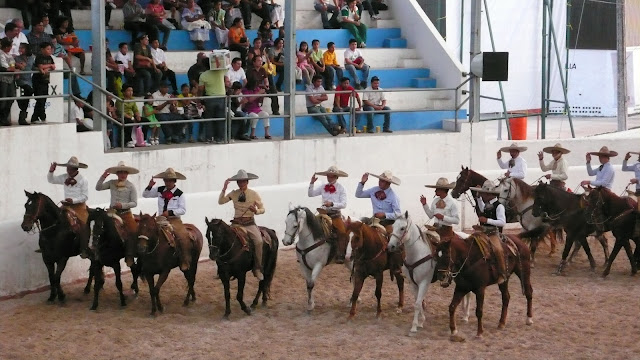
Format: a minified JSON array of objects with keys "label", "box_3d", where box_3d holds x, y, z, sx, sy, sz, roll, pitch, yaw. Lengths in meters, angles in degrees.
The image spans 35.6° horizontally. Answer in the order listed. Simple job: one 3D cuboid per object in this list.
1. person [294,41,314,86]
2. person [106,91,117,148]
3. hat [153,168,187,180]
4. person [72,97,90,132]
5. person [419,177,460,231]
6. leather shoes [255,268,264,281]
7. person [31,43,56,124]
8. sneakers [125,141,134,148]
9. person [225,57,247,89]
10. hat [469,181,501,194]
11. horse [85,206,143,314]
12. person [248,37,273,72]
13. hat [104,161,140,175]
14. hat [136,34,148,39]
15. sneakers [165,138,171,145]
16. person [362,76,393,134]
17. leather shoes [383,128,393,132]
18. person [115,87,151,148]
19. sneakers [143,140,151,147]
[{"label":"person","box_3d":[-0.564,-4.501,38.527,0.729,1.718,0.703,0,4,-2]},{"label":"person","box_3d":[-7.295,-2.054,34.961,0.411,1.824,0.969,0,4,-9]},{"label":"hat","box_3d":[-4.740,-0.154,31.297,0.656,0.214,0.587,4,3,-7]},{"label":"person","box_3d":[-8.299,-2.248,34.585,0.669,1.070,1.469,-1,4,-14]},{"label":"person","box_3d":[3.898,0.761,32.504,1.059,1.797,1.128,27,-37,-34]},{"label":"leather shoes","box_3d":[-1.936,2.976,31.155,0.270,0.368,0.138,-35,11,-18]},{"label":"person","box_3d":[-9.271,-3.253,33.242,0.774,2.697,0.860,-1,4,-24]},{"label":"sneakers","box_3d":[-6.683,-1.261,34.947,0.286,0.195,0.159,0,4,-7]},{"label":"person","box_3d":[-3.138,-3.873,36.865,0.895,1.288,0.838,-3,16,-31]},{"label":"hat","box_3d":[5.247,0.279,30.915,0.695,0.256,0.601,7,0,-7]},{"label":"horse","box_3d":[-6.542,2.442,30.918,1.296,3.182,1.295,-1,4,-13]},{"label":"person","box_3d":[-2.265,-4.707,37.834,0.798,1.246,1.237,-19,29,-38]},{"label":"hat","box_3d":[-6.279,-0.397,31.549,0.975,0.400,0.598,0,4,-7]},{"label":"hat","box_3d":[-6.626,-5.350,36.989,0.336,0.205,0.278,-14,-6,43]},{"label":"sneakers","box_3d":[-5.434,-1.374,35.524,0.221,0.201,0.165,0,4,2]},{"label":"person","box_3d":[2.162,-2.891,38.279,1.084,2.115,1.463,3,5,40]},{"label":"leather shoes","box_3d":[2.618,-1.925,38.444,0.398,0.255,0.136,-2,9,6]},{"label":"person","box_3d":[-6.635,-2.262,35.017,1.083,2.179,1.453,-1,4,-12]},{"label":"sneakers","box_3d":[-6.152,-1.281,35.273,0.309,0.134,0.124,5,14,23]}]
